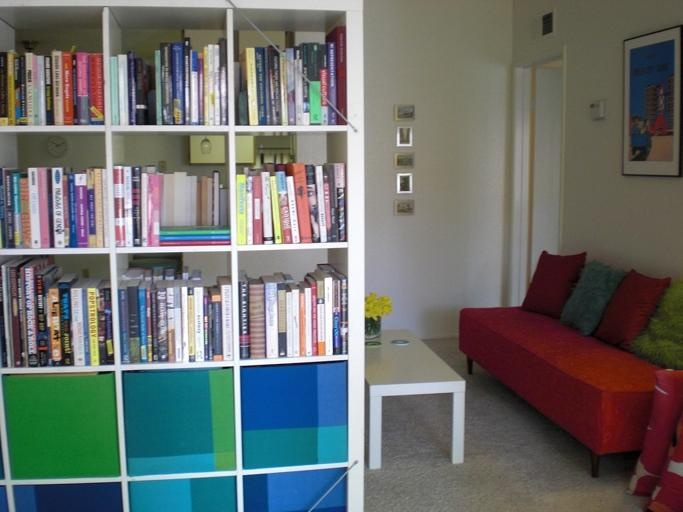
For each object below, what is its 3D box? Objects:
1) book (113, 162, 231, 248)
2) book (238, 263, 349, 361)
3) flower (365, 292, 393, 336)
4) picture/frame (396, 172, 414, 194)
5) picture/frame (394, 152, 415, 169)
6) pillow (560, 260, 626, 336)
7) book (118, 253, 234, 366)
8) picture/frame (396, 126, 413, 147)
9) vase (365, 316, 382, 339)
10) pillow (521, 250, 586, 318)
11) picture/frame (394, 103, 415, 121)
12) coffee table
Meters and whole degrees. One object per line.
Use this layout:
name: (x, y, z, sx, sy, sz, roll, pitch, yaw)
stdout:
book: (-0.757, -0.226, 2.709, 0.492, 0.353, 0.200, -3, 12, -11)
book: (-0.238, 0.175, 2.850, 0.535, 0.412, 0.356, -1, 3, -9)
flower: (0.253, 0.419, 4.369, 0.266, 0.278, 0.273, 1, -3, 11)
picture/frame: (0.591, -0.692, 5.748, 0.200, 0.237, 0.017, 0, 5, -8)
picture/frame: (0.592, -0.889, 5.721, 0.169, 0.149, 0.024, -2, 12, -4)
pillow: (1.730, 0.301, 4.229, 0.142, 0.460, 0.475, 23, 12, 0)
book: (-0.691, 0.263, 2.864, 0.649, 0.578, 0.356, 0, 7, -1)
picture/frame: (0.582, -1.123, 5.693, 0.187, 0.207, 0.017, 0, 4, -8)
vase: (0.222, 0.507, 4.316, 0.141, 0.154, 0.136, 1, 1, 1)
pillow: (1.672, 0.228, 4.670, 0.146, 0.467, 0.484, 20, -3, -25)
picture/frame: (0.579, -1.338, 5.666, 0.165, 0.134, 0.013, -1, 6, -8)
coffee table: (0.432, 0.755, 3.813, 0.520, 0.406, 1.337, 1, 5, -2)
